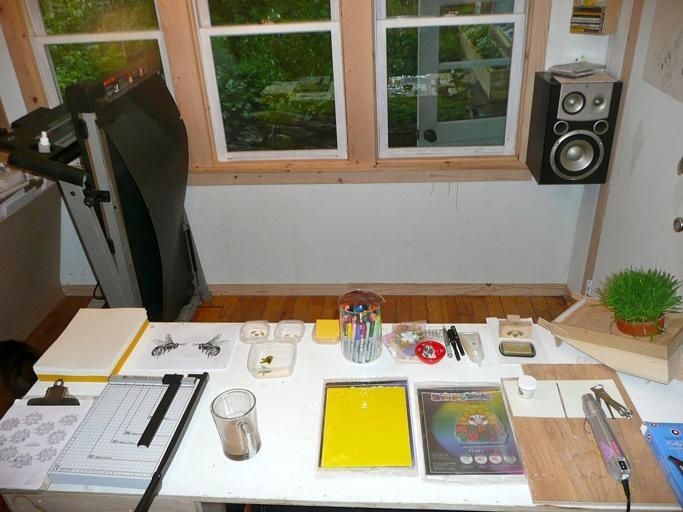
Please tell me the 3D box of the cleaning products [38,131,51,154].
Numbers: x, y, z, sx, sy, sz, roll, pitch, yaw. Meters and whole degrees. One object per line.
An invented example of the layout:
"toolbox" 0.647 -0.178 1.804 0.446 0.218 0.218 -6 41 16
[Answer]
"cleaning products" -1.527 -0.581 2.369 0.060 0.104 0.087 -11 15 -33

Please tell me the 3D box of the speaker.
"speaker" 1.517 -0.760 2.902 0.412 0.598 0.339 9 16 30

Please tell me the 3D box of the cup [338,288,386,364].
"cup" 0.083 0.293 1.886 0.156 0.251 0.155 -4 8 1

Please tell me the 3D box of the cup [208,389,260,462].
"cup" -0.359 0.542 1.635 0.151 0.218 0.239 -8 35 -13
